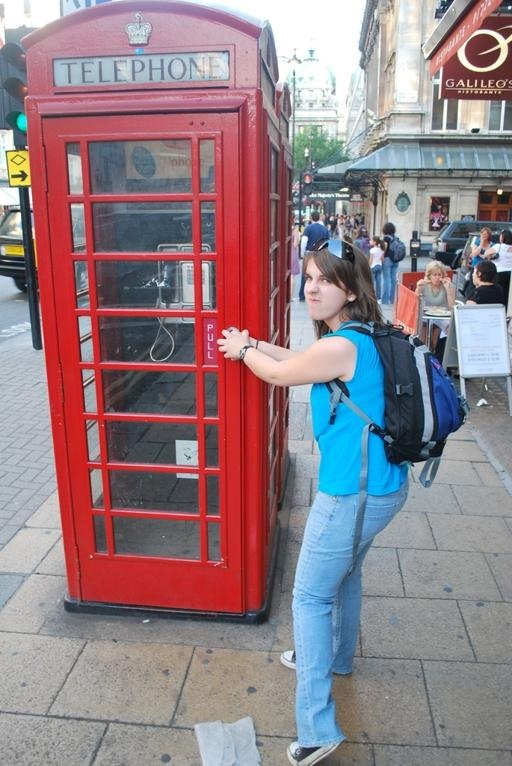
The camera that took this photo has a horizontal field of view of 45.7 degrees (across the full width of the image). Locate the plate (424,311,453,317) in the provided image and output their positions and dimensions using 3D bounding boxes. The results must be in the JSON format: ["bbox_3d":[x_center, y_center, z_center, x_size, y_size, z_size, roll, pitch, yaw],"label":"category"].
[{"bbox_3d":[2.410,-0.909,8.056,0.335,0.110,0.235,3,12,16],"label":"plate"}]

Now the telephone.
[{"bbox_3d":[-0.305,-0.426,2.602,0.190,0.348,0.198,0,12,0],"label":"telephone"}]

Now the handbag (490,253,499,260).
[{"bbox_3d":[4.443,-2.340,11.279,0.056,0.123,0.215,-1,11,-7],"label":"handbag"}]

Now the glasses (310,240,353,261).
[{"bbox_3d":[0.265,-0.452,2.070,0.136,0.076,0.114,2,11,8],"label":"glasses"}]

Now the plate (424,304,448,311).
[{"bbox_3d":[2.449,-1.013,8.260,0.315,0.065,0.356,3,12,16],"label":"plate"}]

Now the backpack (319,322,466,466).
[{"bbox_3d":[0.496,0.033,2.093,0.504,0.474,0.312,2,11,7],"label":"backpack"}]

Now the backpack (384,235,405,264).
[{"bbox_3d":[3.220,-3.053,13.879,0.615,0.638,0.462,5,17,22],"label":"backpack"}]
